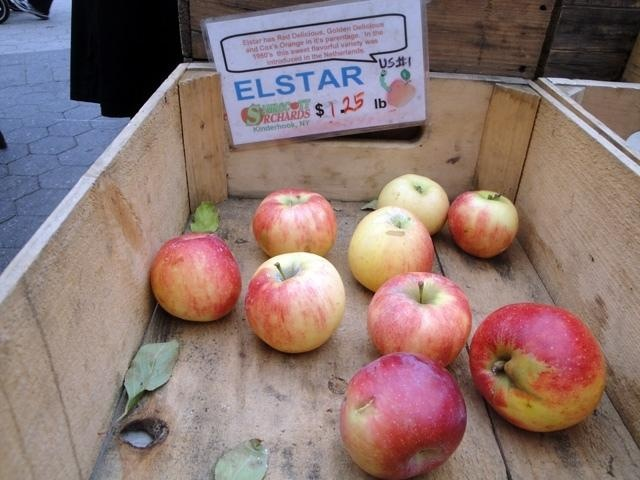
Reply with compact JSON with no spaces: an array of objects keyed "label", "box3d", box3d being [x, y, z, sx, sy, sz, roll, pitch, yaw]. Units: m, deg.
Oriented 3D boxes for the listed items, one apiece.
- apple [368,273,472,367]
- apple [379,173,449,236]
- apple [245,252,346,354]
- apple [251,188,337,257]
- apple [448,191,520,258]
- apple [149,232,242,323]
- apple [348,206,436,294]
[{"label":"apple","box3d":[0.232,0.218,1.129,0.192,0.219,0.219,-5,34,-5]},{"label":"apple","box3d":[0.295,-0.137,1.474,0.177,0.153,0.188,31,36,35]},{"label":"apple","box3d":[-0.065,0.144,1.084,0.209,0.224,0.220,-11,23,-1]},{"label":"apple","box3d":[-0.086,-0.100,1.361,0.193,0.162,0.189,-9,22,-18]},{"label":"apple","box3d":[0.459,-0.062,1.413,0.178,0.209,0.196,-4,23,-14]},{"label":"apple","box3d":[-0.287,0.073,1.194,0.189,0.214,0.212,-2,12,24]},{"label":"apple","box3d":[0.191,0.044,1.331,0.207,0.213,0.214,4,35,-5]}]
